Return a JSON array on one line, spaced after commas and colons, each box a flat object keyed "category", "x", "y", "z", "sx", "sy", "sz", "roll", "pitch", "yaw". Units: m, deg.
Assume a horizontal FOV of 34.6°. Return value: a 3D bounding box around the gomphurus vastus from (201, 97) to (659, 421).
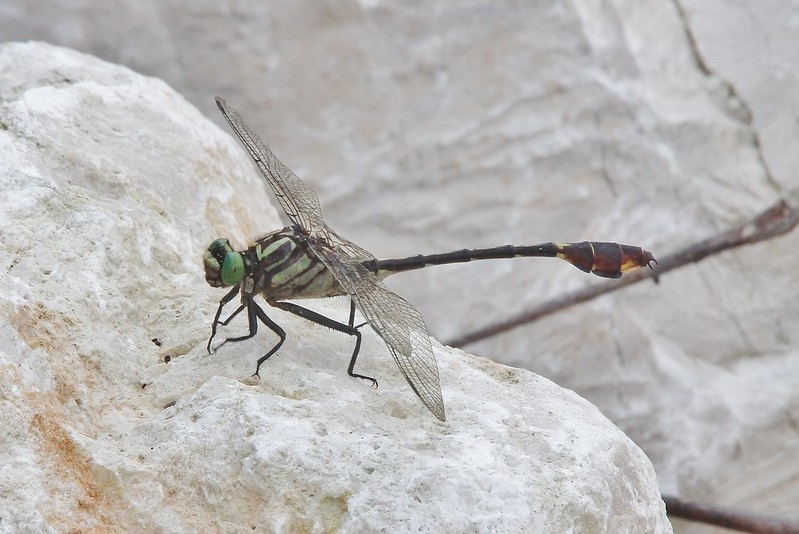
[{"category": "gomphurus vastus", "x": 0.043, "y": -0.015, "z": 3.944, "sx": 0.433, "sy": 1.149, "sz": 1.109, "roll": 100, "pitch": -32, "yaw": -48}]
